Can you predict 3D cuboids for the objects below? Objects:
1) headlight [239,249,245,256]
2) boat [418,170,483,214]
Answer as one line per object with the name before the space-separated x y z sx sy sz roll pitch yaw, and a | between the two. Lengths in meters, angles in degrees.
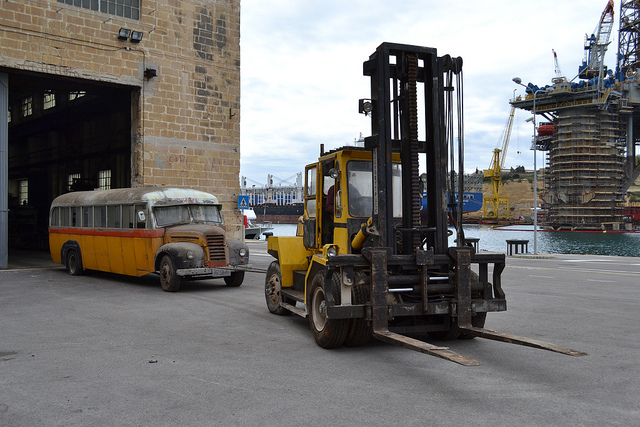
headlight | -2.844 1.426 20.410 0.169 0.200 0.182 4 4 42
boat | 39.090 -5.452 147.267 8.641 12.421 17.445 -4 4 18
